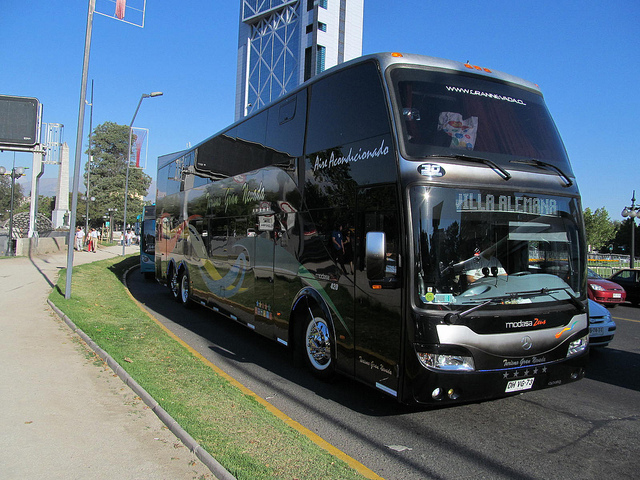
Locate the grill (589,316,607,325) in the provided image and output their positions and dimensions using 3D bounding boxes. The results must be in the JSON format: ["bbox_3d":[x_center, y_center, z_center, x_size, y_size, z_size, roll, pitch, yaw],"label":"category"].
[{"bbox_3d":[6.518,1.882,10.007,0.451,0.225,0.059,3,1,-14],"label":"grill"}]

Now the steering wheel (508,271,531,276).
[{"bbox_3d":[2.890,0.486,6.185,0.383,0.071,0.025,3,1,-23],"label":"steering wheel"}]

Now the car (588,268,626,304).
[{"bbox_3d":[11.811,2.069,18.417,0.939,1.097,2.067,1,-6,-14],"label":"car"}]
